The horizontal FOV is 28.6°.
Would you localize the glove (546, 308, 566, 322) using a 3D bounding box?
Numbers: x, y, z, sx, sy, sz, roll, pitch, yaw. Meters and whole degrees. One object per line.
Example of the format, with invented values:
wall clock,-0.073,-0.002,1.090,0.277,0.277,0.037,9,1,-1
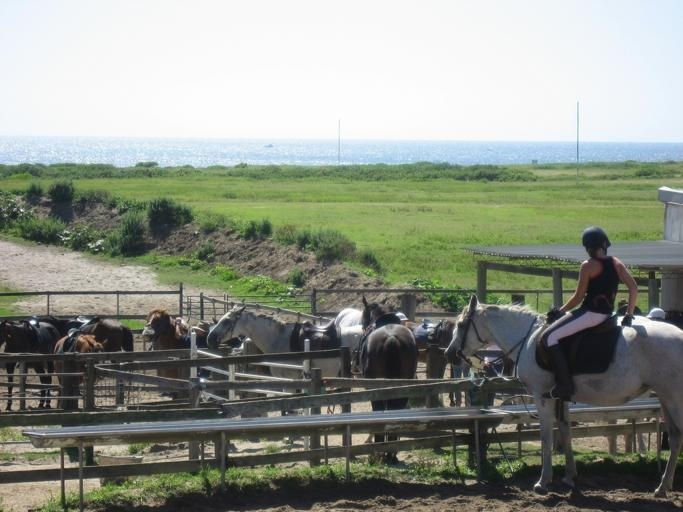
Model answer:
glove,4.877,1.349,30.307,0.236,0.278,0.708,-2,-5,8
